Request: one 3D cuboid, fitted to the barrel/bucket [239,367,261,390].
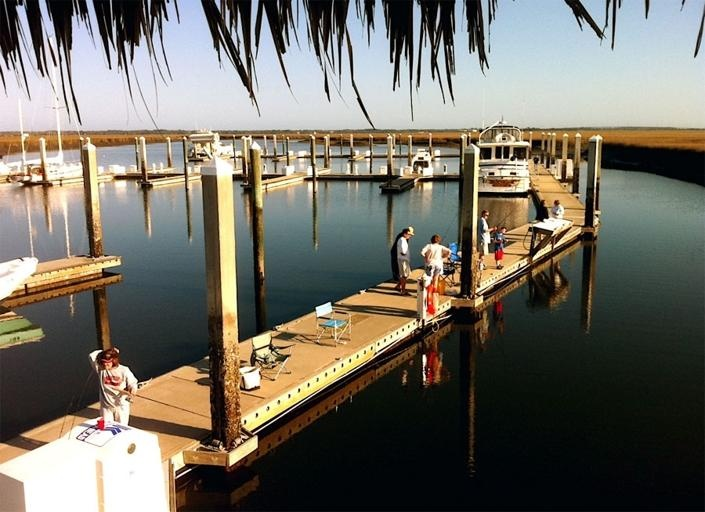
[{"bbox_3d":[-1.873,2.242,10.777,0.369,0.304,0.304,1,5,39],"label":"barrel/bucket"}]

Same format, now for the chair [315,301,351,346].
[{"bbox_3d":[-0.380,1.495,13.032,0.623,0.818,0.667,9,11,37],"label":"chair"}]

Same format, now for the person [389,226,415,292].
[{"bbox_3d":[1.499,0.161,17.680,0.565,1.944,0.909,-6,54,-4],"label":"person"}]

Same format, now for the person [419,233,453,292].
[{"bbox_3d":[2.069,0.230,14.734,0.670,1.500,0.747,3,17,-6],"label":"person"}]

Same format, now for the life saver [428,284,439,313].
[{"bbox_3d":[1.925,1.060,14.380,0.329,0.642,0.135,1,1,-41],"label":"life saver"}]
